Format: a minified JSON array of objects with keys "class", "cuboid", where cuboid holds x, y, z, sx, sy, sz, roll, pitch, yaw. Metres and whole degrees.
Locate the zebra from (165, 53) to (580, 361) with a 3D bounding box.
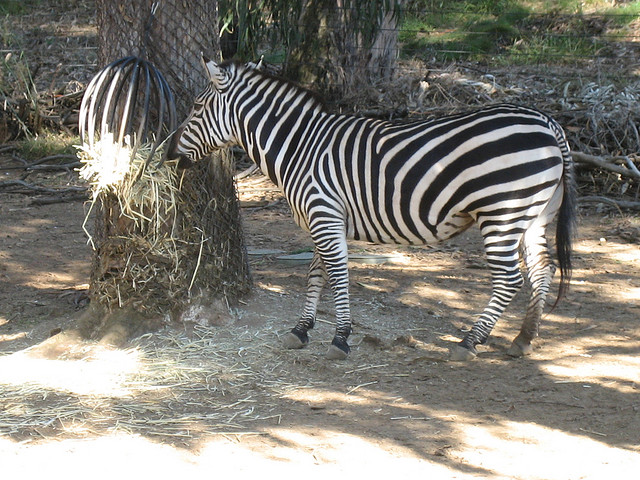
[{"class":"zebra","cuboid":[0.565,-0.302,7.204,4.457,2.297,1.138,7,18,41]}]
